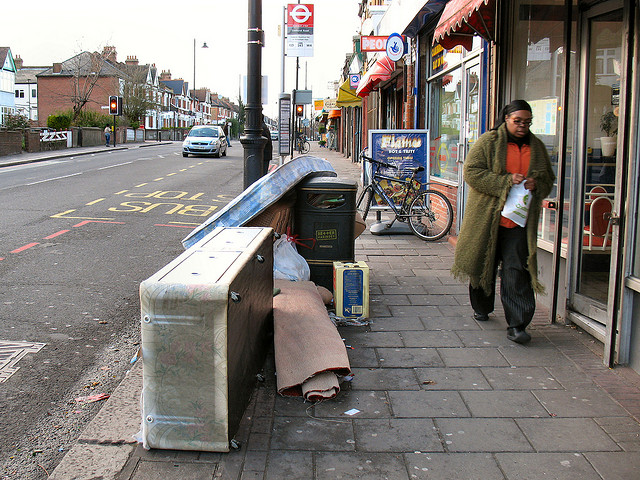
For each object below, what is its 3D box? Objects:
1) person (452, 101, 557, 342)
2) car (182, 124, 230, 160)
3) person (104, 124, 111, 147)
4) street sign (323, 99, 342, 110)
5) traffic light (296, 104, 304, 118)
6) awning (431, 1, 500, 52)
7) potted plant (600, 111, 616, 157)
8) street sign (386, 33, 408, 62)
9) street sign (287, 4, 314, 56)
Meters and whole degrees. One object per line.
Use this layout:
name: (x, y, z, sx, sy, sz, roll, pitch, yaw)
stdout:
person: (1.744, -0.210, 5.151, 0.843, 2.161, 0.589, 5, 11, 25)
car: (-6.806, -5.814, 32.162, 2.007, 1.800, 2.878, 0, 12, 1)
person: (-16.346, -7.912, 41.380, 0.356, 1.505, 2.181, -4, 12, -22)
street sign: (0.913, -11.337, 45.239, 1.327, 0.935, 1.443, -3, 15, -10)
traffic light: (-1.257, -7.525, 31.542, 0.159, 0.742, 0.727, 1, 4, 13)
awning: (1.923, -2.908, 7.125, 0.838, 0.581, 1.873, 4, 13, 21)
potted plant: (2.906, -1.059, 5.433, 0.143, 0.455, 0.116, 8, 13, 39)
street sign: (1.783, -4.607, 13.007, 0.427, 0.632, 0.140, -19, 13, -9)
street sign: (-0.841, -8.612, 22.076, 1.186, 2.041, 0.983, 2, 11, 13)
